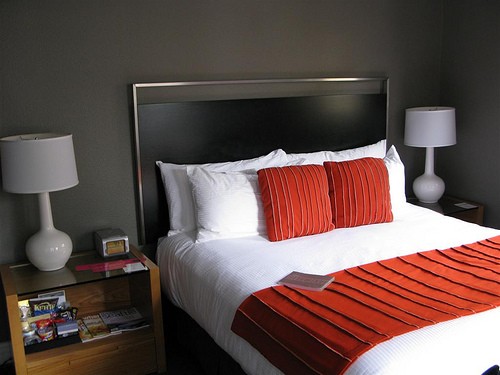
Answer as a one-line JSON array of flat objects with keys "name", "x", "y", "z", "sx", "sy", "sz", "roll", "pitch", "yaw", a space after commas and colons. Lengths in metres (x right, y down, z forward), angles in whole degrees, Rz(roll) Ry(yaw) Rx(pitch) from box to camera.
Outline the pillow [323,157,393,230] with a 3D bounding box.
[{"name": "pillow", "x": 0.812, "y": 0.067, "z": 2.869, "sx": 0.532, "sy": 0.502, "sz": 0.163, "roll": -6, "pitch": -3, "yaw": -21}]

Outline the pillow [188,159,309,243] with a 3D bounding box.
[{"name": "pillow", "x": -0.165, "y": 0.110, "z": 2.697, "sx": 0.510, "sy": 0.492, "sz": 0.261, "roll": -6, "pitch": 14, "yaw": -10}]

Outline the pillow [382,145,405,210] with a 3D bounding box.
[{"name": "pillow", "x": 1.217, "y": -0.050, "z": 3.103, "sx": 0.117, "sy": 0.409, "sz": 0.408, "roll": -4, "pitch": 3, "yaw": 31}]

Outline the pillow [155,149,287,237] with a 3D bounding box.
[{"name": "pillow", "x": -0.250, "y": 0.069, "z": 2.756, "sx": 0.622, "sy": 0.393, "sz": 0.141, "roll": -8, "pitch": -6, "yaw": -16}]

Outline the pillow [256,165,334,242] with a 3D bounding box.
[{"name": "pillow", "x": 0.310, "y": 0.107, "z": 2.684, "sx": 0.563, "sy": 0.516, "sz": 0.167, "roll": -5, "pitch": -10, "yaw": -29}]
